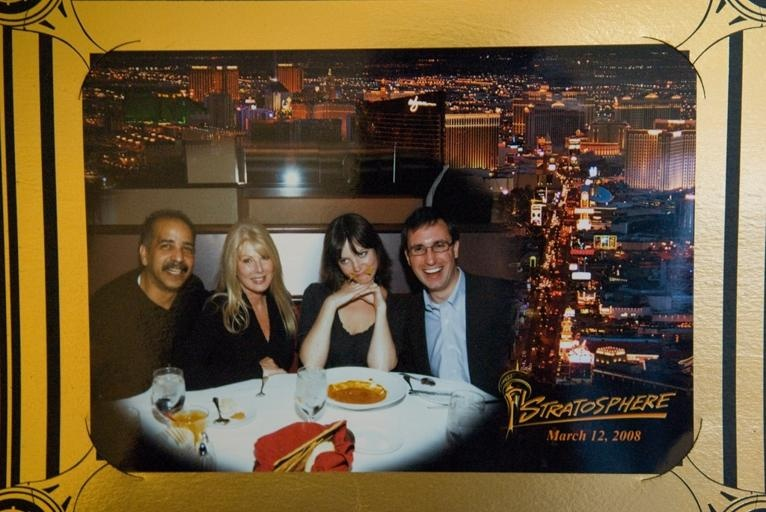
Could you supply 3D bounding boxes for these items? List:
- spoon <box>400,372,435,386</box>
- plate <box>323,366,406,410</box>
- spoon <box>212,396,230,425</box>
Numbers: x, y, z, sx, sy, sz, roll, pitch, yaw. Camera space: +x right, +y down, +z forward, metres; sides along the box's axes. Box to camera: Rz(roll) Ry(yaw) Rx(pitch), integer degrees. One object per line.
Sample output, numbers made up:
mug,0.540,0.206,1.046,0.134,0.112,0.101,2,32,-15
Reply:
spoon,0.160,0.554,4.542,0.193,0.064,0.054,-6,3,6
plate,-0.119,0.605,4.403,0.402,0.059,0.369,7,18,10
spoon,-0.739,0.700,4.514,0.074,0.118,0.021,-12,-3,-2
